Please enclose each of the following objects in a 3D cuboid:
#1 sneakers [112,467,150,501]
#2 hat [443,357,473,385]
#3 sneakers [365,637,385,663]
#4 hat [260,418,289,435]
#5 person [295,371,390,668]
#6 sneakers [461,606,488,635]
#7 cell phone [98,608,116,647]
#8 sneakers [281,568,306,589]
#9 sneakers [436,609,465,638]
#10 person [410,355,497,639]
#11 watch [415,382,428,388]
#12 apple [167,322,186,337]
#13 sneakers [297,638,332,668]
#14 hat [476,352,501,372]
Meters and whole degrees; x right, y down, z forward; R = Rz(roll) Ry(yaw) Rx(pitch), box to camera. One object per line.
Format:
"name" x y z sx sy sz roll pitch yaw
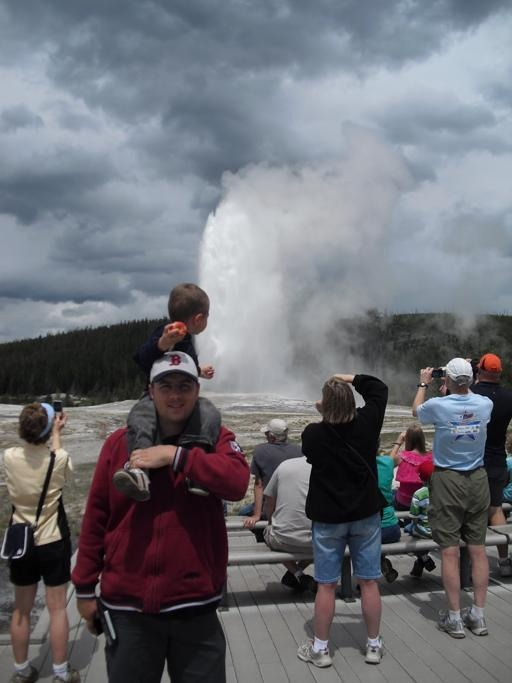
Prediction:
"sneakers" -0.424 0.484 1.787 0.088 0.138 0.097 -13 28 21
"hat" 1.517 0.201 3.817 0.172 0.126 0.236 4 15 7
"sneakers" 0.733 1.905 3.153 0.075 0.077 0.186 -1 -9 7
"hat" 0.175 0.836 4.930 0.175 0.120 0.247 5 0 -39
"person" 0.562 1.099 3.201 0.584 1.780 0.367 0 -4 1
"sneakers" 1.514 1.945 3.565 0.094 0.110 0.251 0 -7 -10
"cell phone" -0.570 1.086 1.945 0.033 0.134 0.138 -12 -15 -24
"sneakers" 0.311 1.999 4.262 0.113 0.225 0.248 -15 -29 36
"sneakers" 1.365 1.930 3.520 0.193 0.162 0.177 0 -4 4
"person" 1.472 1.076 3.789 0.538 1.923 0.624 -2 -5 23
"watch" 1.353 0.343 4.099 0.056 0.033 0.064 5 0 11
"apple" -0.359 -0.060 2.297 0.090 0.064 0.102 2 -5 -17
"sneakers" 0.362 1.932 3.187 0.095 0.105 0.227 7 -11 -38
"hat" 2.148 0.181 4.656 0.143 0.113 0.213 3 10 10
